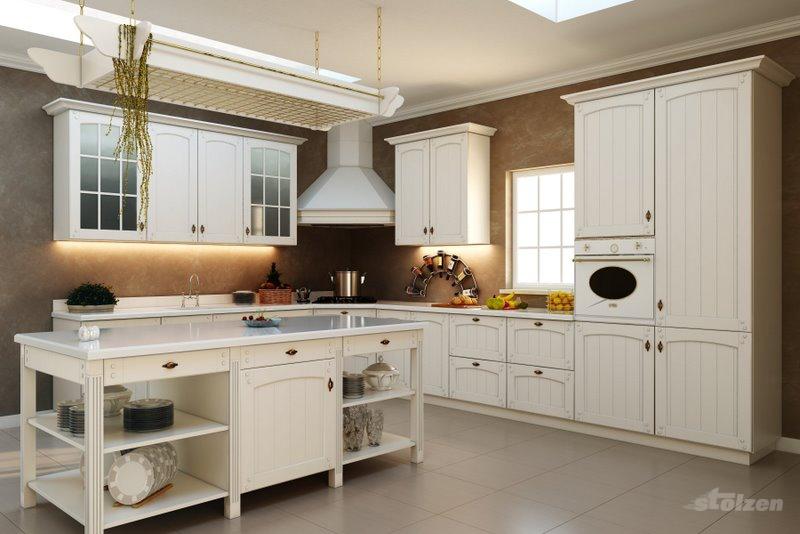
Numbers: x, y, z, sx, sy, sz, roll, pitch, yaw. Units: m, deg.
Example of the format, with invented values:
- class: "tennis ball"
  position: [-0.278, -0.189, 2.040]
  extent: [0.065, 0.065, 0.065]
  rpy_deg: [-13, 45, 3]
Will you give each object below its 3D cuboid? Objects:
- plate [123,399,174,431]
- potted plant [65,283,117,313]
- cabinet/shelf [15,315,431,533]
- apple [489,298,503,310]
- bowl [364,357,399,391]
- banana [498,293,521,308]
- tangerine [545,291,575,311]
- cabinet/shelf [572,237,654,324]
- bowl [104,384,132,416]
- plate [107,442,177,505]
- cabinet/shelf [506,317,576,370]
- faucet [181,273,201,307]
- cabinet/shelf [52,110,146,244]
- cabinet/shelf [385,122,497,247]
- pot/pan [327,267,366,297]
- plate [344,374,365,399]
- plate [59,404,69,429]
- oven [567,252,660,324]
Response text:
- class: "plate"
  position: [-1.768, 1.032, 4.024]
  extent: [0.236, 0.117, 0.236]
  rpy_deg: [0, 2, -43]
- class: "potted plant"
  position: [-3.242, 0.329, 5.976]
  extent: [0.353, 0.222, 0.369]
  rpy_deg: [0, -1, 30]
- class: "cabinet/shelf"
  position: [-1.329, 1.084, 4.517]
  extent: [2.876, 1.368, 1.014]
  rpy_deg: [-3, 7, -32]
- class: "apple"
  position: [1.058, 0.413, 6.437]
  extent: [0.140, 0.134, 0.112]
  rpy_deg: [1, -10, 15]
- class: "bowl"
  position: [-0.173, 0.927, 5.049]
  extent: [0.304, 0.260, 0.304]
  rpy_deg: [-2, -2, 0]
- class: "banana"
  position: [1.256, 0.374, 6.585]
  extent: [0.210, 0.138, 0.439]
  rpy_deg: [2, 6, 12]
- class: "tangerine"
  position: [1.673, 0.361, 6.109]
  extent: [0.222, 0.129, 0.216]
  rpy_deg: [0, 0, 3]
- class: "cabinet/shelf"
  position: [2.110, 0.152, 5.915]
  extent: [0.724, 1.064, 0.955]
  rpy_deg: [6, -7, -44]
- class: "bowl"
  position: [-2.104, 0.988, 4.294]
  extent: [0.234, 0.156, 0.228]
  rpy_deg: [0, -7, 0]
- class: "plate"
  position: [-1.773, 1.428, 4.005]
  extent: [0.212, 0.330, 0.445]
  rpy_deg: [5, 7, 35]
- class: "cabinet/shelf"
  position: [1.445, 0.799, 5.941]
  extent: [0.752, 0.507, 0.450]
  rpy_deg: [-3, -7, 44]
- class: "faucet"
  position: [-2.528, 0.270, 6.894]
  extent: [0.166, 0.346, 0.247]
  rpy_deg: [-1, 7, -15]
- class: "cabinet/shelf"
  position: [-3.240, -0.943, 6.058]
  extent: [0.877, 1.328, 0.514]
  rpy_deg: [-2, 7, -22]
- class: "cabinet/shelf"
  position: [0.535, -0.987, 7.043]
  extent: [1.643, 1.517, 0.699]
  rpy_deg: [-4, -6, 41]
- class: "pot/pan"
  position: [-0.717, 0.224, 7.689]
  extent: [0.437, 0.303, 0.324]
  rpy_deg: [0, -1, -5]
- class: "plate"
  position: [-0.375, 0.988, 4.796]
  extent: [0.182, 0.149, 0.180]
  rpy_deg: [1, 0, -44]
- class: "plate"
  position: [-2.390, 1.046, 4.054]
  extent: [0.128, 0.177, 0.029]
  rpy_deg: [3, 7, 25]
- class: "oven"
  position: [2.039, 0.242, 5.770]
  extent: [0.801, 0.646, 0.544]
  rpy_deg: [1, -8, -1]
